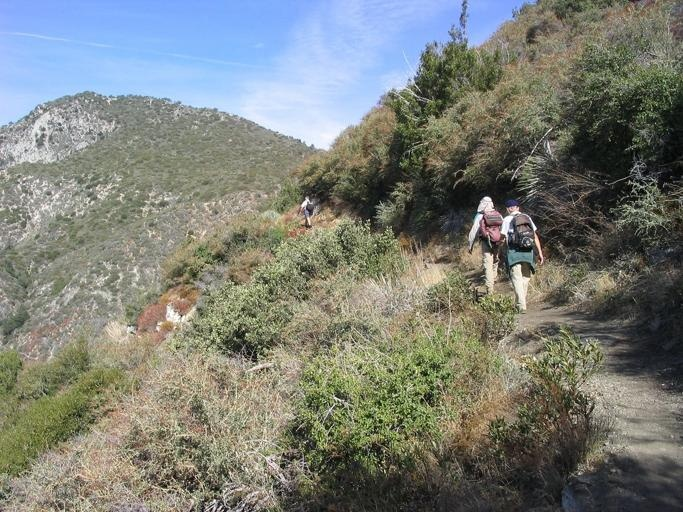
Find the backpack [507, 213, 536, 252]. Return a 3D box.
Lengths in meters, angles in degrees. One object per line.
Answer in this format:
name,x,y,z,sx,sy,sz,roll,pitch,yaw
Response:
backpack,3.242,-0.421,9.682,0.493,0.664,0.270,-9,1,24

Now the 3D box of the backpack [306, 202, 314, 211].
backpack,-1.315,-2.111,22.373,0.228,0.363,0.328,-3,-6,-3

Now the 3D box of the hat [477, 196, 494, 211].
hat,2.917,-1.051,10.739,0.301,0.414,0.375,-1,8,-8
